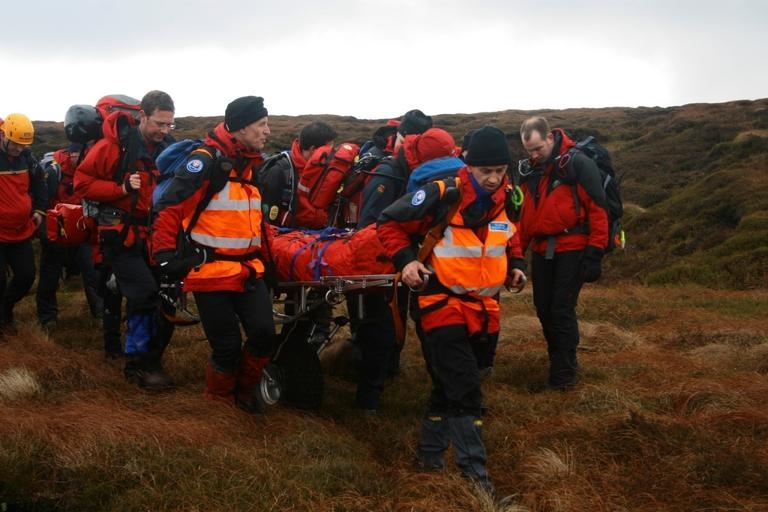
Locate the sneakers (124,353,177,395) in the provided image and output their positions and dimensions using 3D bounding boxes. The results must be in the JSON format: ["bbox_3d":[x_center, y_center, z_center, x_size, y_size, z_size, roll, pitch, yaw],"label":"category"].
[{"bbox_3d":[-2.598,1.298,6.836,0.670,0.289,0.286,6,7,25],"label":"sneakers"}]

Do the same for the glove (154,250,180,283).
[{"bbox_3d":[-2.106,0.098,6.064,0.293,0.355,0.369,2,5,-12],"label":"glove"}]

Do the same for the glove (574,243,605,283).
[{"bbox_3d":[2.366,0.089,7.406,0.315,0.399,0.373,9,4,11],"label":"glove"}]
